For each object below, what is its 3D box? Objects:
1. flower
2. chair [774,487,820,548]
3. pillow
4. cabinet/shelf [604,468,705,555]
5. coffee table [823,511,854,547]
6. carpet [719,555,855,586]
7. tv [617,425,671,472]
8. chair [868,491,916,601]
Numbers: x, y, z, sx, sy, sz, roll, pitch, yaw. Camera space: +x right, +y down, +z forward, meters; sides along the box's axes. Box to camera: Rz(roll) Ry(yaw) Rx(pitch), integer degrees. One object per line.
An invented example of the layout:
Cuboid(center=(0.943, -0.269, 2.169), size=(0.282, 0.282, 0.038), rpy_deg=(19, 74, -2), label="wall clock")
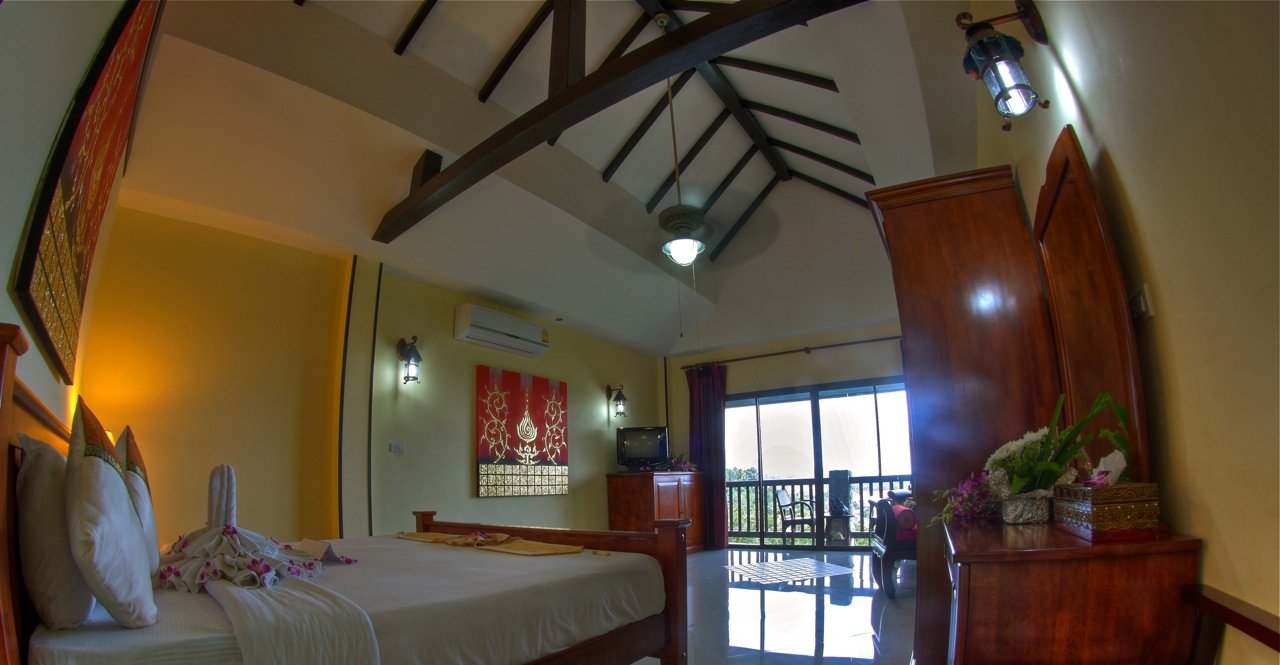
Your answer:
Cuboid(center=(1.969, 0.643, 3.804), size=(0.830, 0.579, 0.631), rpy_deg=(-3, -3, 12), label="flower")
Cuboid(center=(2.158, 2.518, 10.333), size=(0.667, 0.883, 0.610), rpy_deg=(-6, -11, 24), label="chair")
Cuboid(center=(-2.813, 0.929, 3.850), size=(0.473, 1.170, 0.535), rpy_deg=(-4, -3, 41), label="pillow")
Cuboid(center=(0.119, 1.992, 8.520), size=(0.752, 1.111, 1.250), rpy_deg=(-13, -16, 38), label="cabinet/shelf")
Cuboid(center=(2.723, 2.652, 10.196), size=(0.410, 0.599, 0.413), rpy_deg=(-6, -8, 38), label="coffee table")
Cuboid(center=(1.641, 2.612, 8.288), size=(1.262, 0.153, 1.638), rpy_deg=(-3, -4, 1), label="carpet")
Cuboid(center=(0.090, 1.564, 10.423), size=(1.017, 0.820, 0.515), rpy_deg=(0, -4, 3), label="tv")
Cuboid(center=(2.337, 1.964, 6.963), size=(0.391, 0.710, 0.845), rpy_deg=(-3, -3, 17), label="chair")
